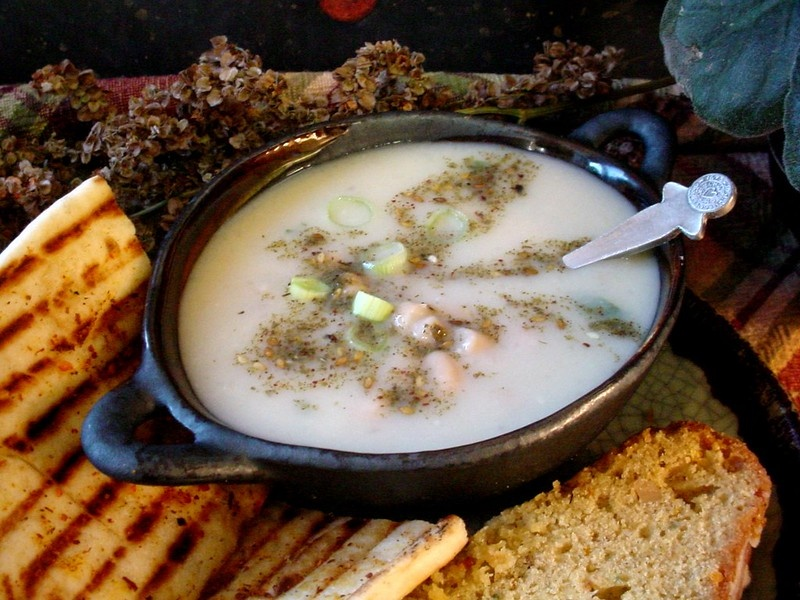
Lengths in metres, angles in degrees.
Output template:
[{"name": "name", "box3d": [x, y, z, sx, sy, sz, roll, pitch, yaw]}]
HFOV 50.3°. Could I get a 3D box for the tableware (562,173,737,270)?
[{"name": "tableware", "box3d": [0.732, -0.217, 2.433, 0.582, 0.079, 0.177, -15, 53, 27]}]
